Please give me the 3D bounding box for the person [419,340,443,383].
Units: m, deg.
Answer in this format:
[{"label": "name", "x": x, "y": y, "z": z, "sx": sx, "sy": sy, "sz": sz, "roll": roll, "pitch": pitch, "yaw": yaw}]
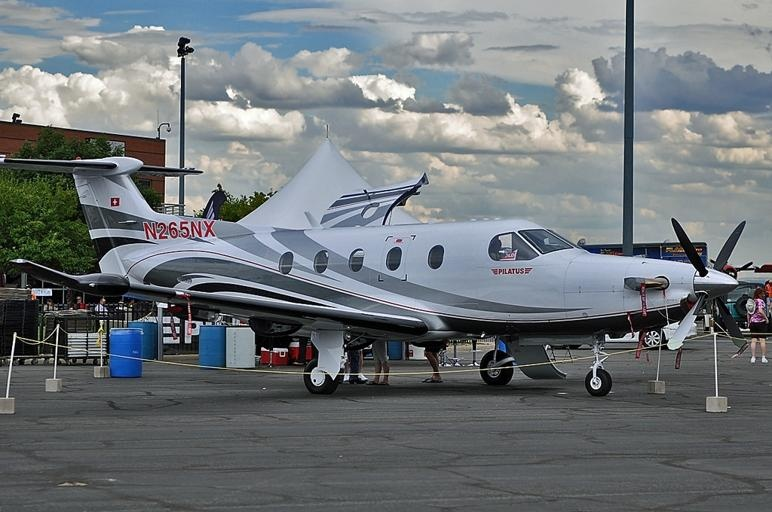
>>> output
[{"label": "person", "x": 1.107, "y": 2.396, "z": 27.477, "sx": 0.691, "sy": 1.333, "sz": 0.392, "roll": 2, "pitch": -12, "yaw": -15}]
